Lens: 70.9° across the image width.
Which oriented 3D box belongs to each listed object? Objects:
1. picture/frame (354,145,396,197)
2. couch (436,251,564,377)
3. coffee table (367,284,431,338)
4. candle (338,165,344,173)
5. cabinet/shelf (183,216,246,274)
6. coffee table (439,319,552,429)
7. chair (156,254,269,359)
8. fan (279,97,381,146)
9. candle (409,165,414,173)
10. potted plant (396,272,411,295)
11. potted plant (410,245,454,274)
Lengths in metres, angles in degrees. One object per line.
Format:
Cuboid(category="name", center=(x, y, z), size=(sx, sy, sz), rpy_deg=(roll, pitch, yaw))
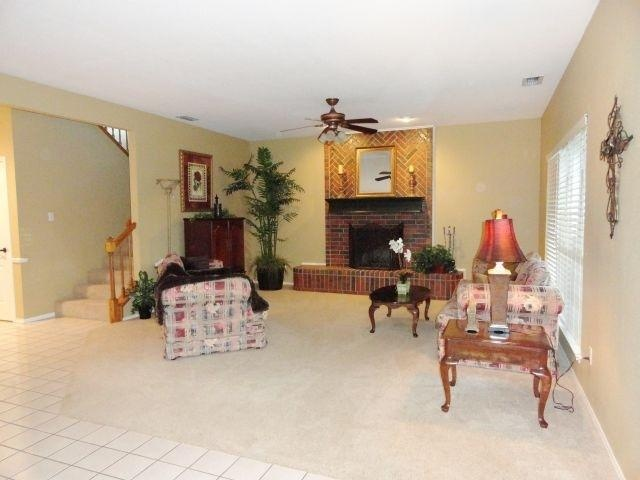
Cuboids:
Cuboid(category="picture/frame", center=(1.061, -1.285, 8.333), size=(1.028, 1.193, 0.123), rpy_deg=(0, 0, 16))
Cuboid(category="couch", center=(1.867, 1.037, 4.734), size=(1.044, 0.874, 1.811), rpy_deg=(1, 3, 22))
Cuboid(category="coffee table", center=(1.037, 0.831, 5.956), size=(0.655, 0.411, 0.766), rpy_deg=(2, 7, 24))
Cuboid(category="candle", center=(0.402, -1.344, 8.562), size=(0.109, 0.177, 0.115), rpy_deg=(-1, 11, 2))
Cuboid(category="cabinet/shelf", center=(-1.824, 0.070, 7.556), size=(0.398, 1.002, 1.054), rpy_deg=(-1, 1, 23))
Cuboid(category="coffee table", center=(1.565, 0.915, 3.984), size=(1.093, 0.823, 0.795), rpy_deg=(1, 0, 23))
Cuboid(category="chair", center=(-1.340, 0.734, 5.528), size=(1.041, 0.804, 1.569), rpy_deg=(-1, 4, -17))
Cuboid(category="fan", center=(0.234, -1.605, 6.171), size=(0.929, 0.350, 0.981), rpy_deg=(8, 11, 38))
Cuboid(category="candle", center=(1.644, -1.285, 8.085), size=(0.113, 0.135, 0.113), rpy_deg=(1, 11, 13))
Cuboid(category="potted plant", center=(1.121, 0.587, 6.085), size=(0.268, 0.371, 0.260), rpy_deg=(0, -4, 5))
Cuboid(category="potted plant", center=(1.958, 0.334, 7.722), size=(0.484, 0.388, 0.553), rpy_deg=(-2, -6, 6))
